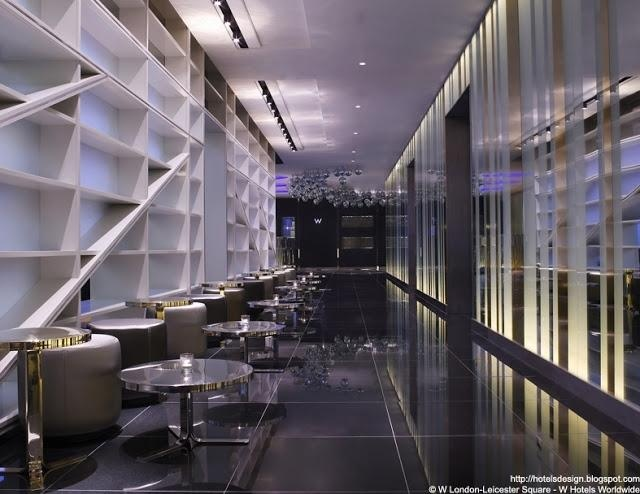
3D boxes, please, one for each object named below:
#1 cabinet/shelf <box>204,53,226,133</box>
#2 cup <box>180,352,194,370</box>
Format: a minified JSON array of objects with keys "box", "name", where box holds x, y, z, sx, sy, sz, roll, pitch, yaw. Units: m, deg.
[{"box":[-1.936,-2.866,9.282,0.172,0.584,1.140,0,-2,-2],"name":"cabinet/shelf"},{"box":[-0.953,0.808,3.631,0.106,0.123,0.102,1,1,0],"name":"cup"}]
